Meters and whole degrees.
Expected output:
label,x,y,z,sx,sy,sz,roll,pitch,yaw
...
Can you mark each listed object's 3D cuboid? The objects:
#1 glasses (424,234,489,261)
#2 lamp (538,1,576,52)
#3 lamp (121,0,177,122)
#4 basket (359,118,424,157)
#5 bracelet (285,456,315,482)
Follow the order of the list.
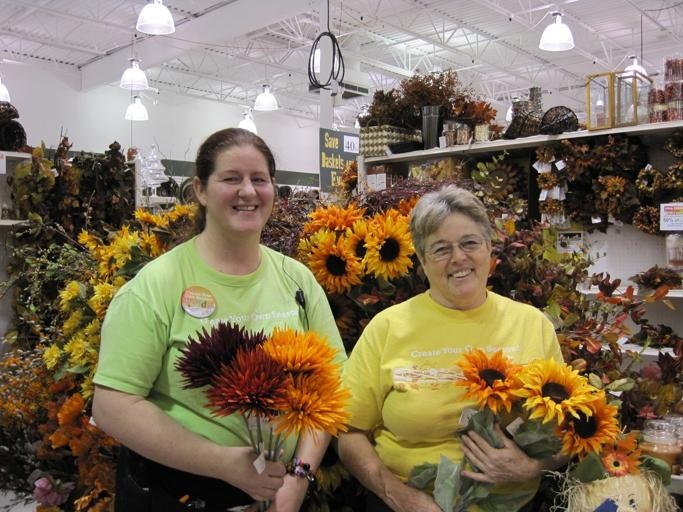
label,x,y,z,sx,sy,sz,roll,pitch,yaw
glasses,0.407,-0.030,1.812,0.205,0.087,0.051,1,6,8
lamp,3.119,-3.301,7.432,0.427,0.618,0.445,-1,6,-7
lamp,-4.064,-4.084,10.685,0.933,2.558,1.507,11,44,-23
basket,0.411,-0.941,4.174,0.485,0.221,0.310,-3,5,-42
bracelet,-0.118,0.587,1.424,0.067,0.063,0.106,-1,6,-13
